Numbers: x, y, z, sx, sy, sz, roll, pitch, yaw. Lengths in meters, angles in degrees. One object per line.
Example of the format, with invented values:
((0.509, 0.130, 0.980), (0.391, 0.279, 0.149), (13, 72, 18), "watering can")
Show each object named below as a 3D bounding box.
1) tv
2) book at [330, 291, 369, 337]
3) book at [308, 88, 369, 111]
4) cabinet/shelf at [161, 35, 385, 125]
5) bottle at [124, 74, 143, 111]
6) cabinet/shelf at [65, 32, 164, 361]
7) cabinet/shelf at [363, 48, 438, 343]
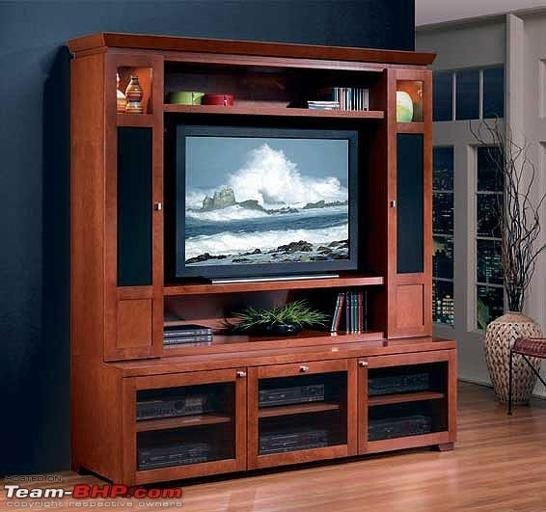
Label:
((-0.106, -0.302, 3.245), (1.117, 0.722, 0.052), (-2, 6, -24), "tv")
((0.472, 0.343, 3.538), (0.266, 0.316, 0.289), (0, 2, -4), "book")
((0.416, -0.945, 3.424), (0.282, 0.086, 0.261), (-3, 11, -14), "book")
((0.012, -0.986, 3.315), (1.340, 0.360, 0.363), (1, 8, -6), "cabinet/shelf")
((-0.692, -0.803, 2.792), (0.089, 0.185, 0.017), (1, -3, -25), "bottle")
((-0.819, -0.288, 2.818), (0.533, 1.604, 0.360), (0, -3, 4), "cabinet/shelf")
((0.786, -0.366, 3.421), (0.415, 1.743, 0.402), (0, -3, 9), "cabinet/shelf")
